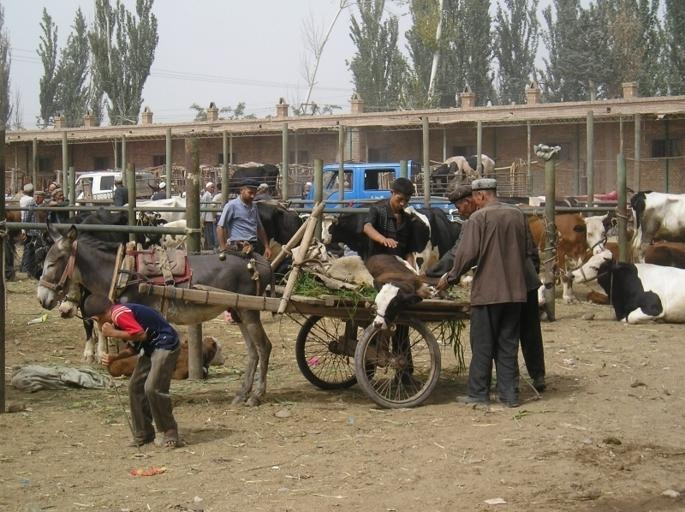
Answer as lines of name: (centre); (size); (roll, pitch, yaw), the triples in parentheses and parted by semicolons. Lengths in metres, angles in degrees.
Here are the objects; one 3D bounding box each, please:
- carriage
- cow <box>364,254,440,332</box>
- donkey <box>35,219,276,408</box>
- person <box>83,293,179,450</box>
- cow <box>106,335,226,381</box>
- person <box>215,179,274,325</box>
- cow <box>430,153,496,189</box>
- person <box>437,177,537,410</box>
carriage: (-1.300, 0.406, 12.361); (4.004, 2.201, 1.452); (0, 6, 4)
cow: (0.616, 0.389, 10.713); (0.694, 0.627, 0.719); (-4, 14, -12)
donkey: (-2.043, 0.697, 10.949); (2.789, 1.934, 0.655); (2, -1, -4)
person: (-2.036, 1.050, 10.063); (0.986, 1.531, 1.046); (12, 16, 24)
cow: (-2.218, 1.255, 11.924); (1.596, 0.689, 0.518); (7, -9, -17)
person: (-1.332, -0.050, 13.392); (0.702, 1.958, 0.814); (0, 1, -18)
cow: (3.308, -2.363, 26.380); (1.690, 1.121, 1.435); (2, 15, 4)
person: (1.673, 0.384, 10.946); (1.035, 2.455, 0.778); (0, 2, -27)
